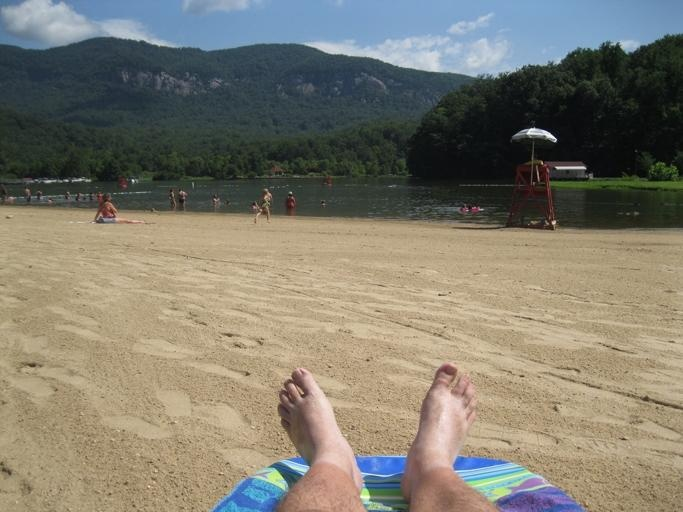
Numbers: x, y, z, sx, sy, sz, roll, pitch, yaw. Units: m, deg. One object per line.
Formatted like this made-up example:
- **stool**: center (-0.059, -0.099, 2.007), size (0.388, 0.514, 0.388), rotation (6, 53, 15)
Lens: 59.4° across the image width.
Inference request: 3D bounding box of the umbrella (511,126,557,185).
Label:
- **umbrella**: center (6.832, -3.522, 21.622), size (1.584, 2.236, 1.674), rotation (3, -1, 25)
